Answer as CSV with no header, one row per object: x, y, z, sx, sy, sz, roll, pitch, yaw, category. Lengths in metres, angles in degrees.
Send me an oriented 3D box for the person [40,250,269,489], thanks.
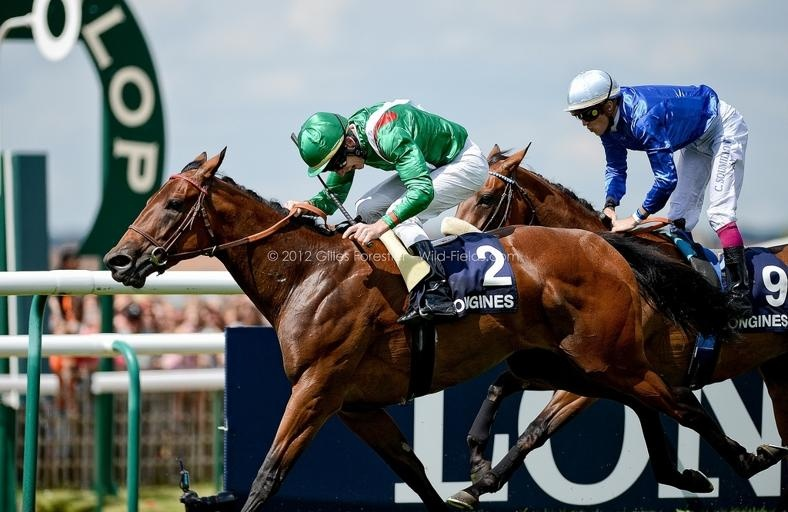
-1.735,0.877,10.976,1.850,1.080,0.541,-1,-1,-7,person

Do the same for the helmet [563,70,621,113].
1.381,-1.173,10.495,0.177,0.295,0.355,42,-23,-26,helmet

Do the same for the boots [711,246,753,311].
2.255,0.163,10.100,0.134,0.506,0.152,-8,-23,26,boots

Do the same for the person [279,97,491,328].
-0.033,-0.302,9.950,1.252,1.351,0.795,-9,10,-7,person
